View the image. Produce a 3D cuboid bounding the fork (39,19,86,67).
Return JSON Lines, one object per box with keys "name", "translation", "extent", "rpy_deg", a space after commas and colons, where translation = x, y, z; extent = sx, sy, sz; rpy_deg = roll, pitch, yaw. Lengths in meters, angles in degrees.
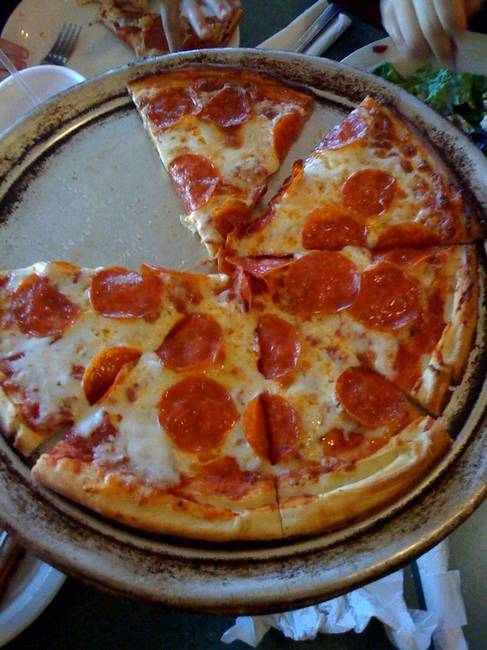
{"name": "fork", "translation": [-0.805, -1.241, 2.890], "extent": [0.097, 0.053, 0.324], "rpy_deg": [27, 68, -3]}
